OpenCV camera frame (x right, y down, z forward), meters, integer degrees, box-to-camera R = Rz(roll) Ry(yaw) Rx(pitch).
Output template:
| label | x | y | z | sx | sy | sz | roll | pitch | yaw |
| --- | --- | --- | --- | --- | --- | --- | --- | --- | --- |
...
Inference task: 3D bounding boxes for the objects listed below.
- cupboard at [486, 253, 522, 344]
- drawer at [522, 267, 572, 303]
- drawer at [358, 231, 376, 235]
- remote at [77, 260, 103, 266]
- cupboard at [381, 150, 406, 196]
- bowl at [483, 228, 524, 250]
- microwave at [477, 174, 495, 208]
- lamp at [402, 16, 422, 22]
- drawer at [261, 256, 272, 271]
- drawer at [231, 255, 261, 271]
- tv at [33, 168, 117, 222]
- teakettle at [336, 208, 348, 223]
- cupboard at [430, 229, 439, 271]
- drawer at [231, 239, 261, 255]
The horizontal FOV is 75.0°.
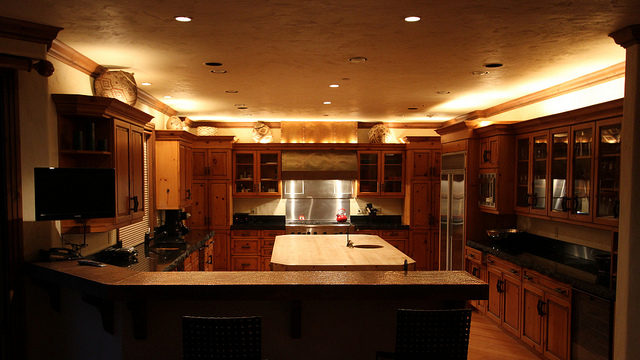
| label | x | y | z | sx | sy | sz | roll | pitch | yaw |
| --- | --- | --- | --- | --- | --- | --- | --- | --- | --- |
| cupboard | 2.974 | 1.889 | 6.740 | 0.522 | 1.155 | 0.674 | 3 | 2 | 3 |
| drawer | 3.263 | 1.513 | 6.000 | 0.253 | 0.266 | 0.502 | 2 | 2 | 17 |
| drawer | 1.051 | 1.200 | 9.382 | 0.399 | 0.065 | 0.154 | 0 | 1 | 1 |
| remote | -2.745 | 0.996 | 4.958 | 0.200 | 0.029 | 0.095 | 3 | -2 | 0 |
| cupboard | 1.745 | -0.220 | 9.681 | 0.719 | 0.939 | 0.327 | 4 | 7 | 18 |
| bowl | 3.252 | 1.006 | 7.247 | 0.649 | 0.289 | 0.736 | 0 | 1 | 6 |
| microwave | 2.946 | 0.202 | 7.404 | 0.364 | 0.512 | 0.611 | 3 | -10 | -2 |
| lamp | 1.070 | -1.887 | 4.859 | 0.210 | 0.033 | 0.092 | 0 | 1 | 3 |
| drawer | -1.208 | 1.857 | 9.215 | 0.183 | 0.286 | 0.218 | -1 | 2 | -8 |
| drawer | -1.663 | 1.843 | 9.192 | 0.800 | 0.362 | 0.394 | 0 | -2 | -3 |
| tv | -3.019 | 0.172 | 5.224 | 1.172 | 0.639 | 0.098 | -2 | 0 | 9 |
| teakettle | 0.501 | 0.835 | 9.824 | 0.254 | 0.305 | 0.402 | 0 | 1 | 3 |
| cupboard | 2.604 | 1.627 | 9.578 | 0.237 | 0.878 | 0.117 | 2 | -4 | 1 |
| drawer | -1.668 | 1.497 | 9.306 | 0.768 | 0.349 | 0.358 | 0 | -4 | -4 |
